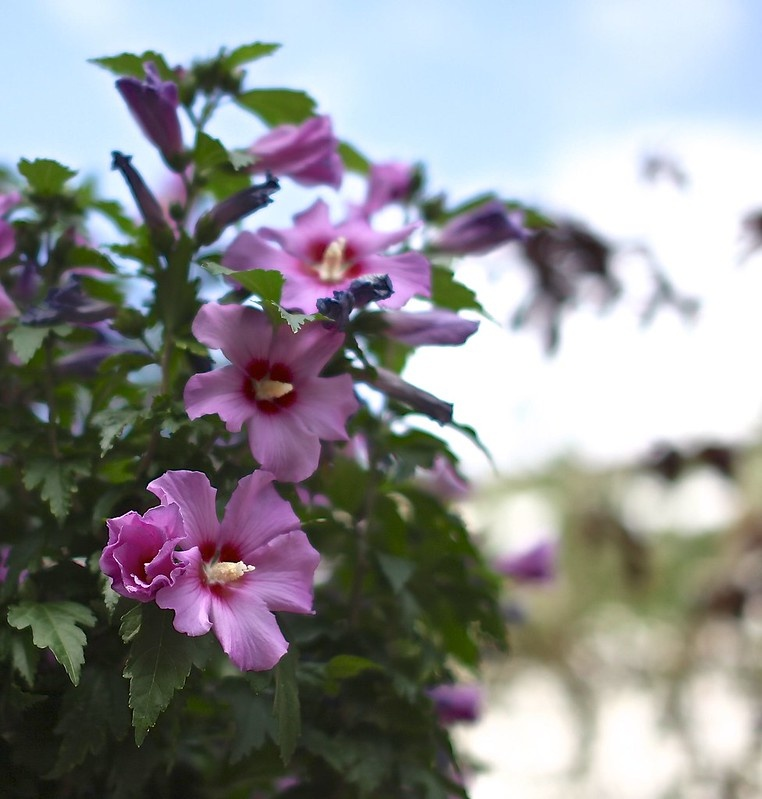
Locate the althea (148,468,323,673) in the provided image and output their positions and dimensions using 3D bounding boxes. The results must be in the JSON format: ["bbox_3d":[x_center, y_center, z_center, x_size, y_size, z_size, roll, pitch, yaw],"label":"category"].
[{"bbox_3d":[-0.157,0.134,1.069,0.195,0.164,0.071,11,-69,35],"label":"althea"}]
